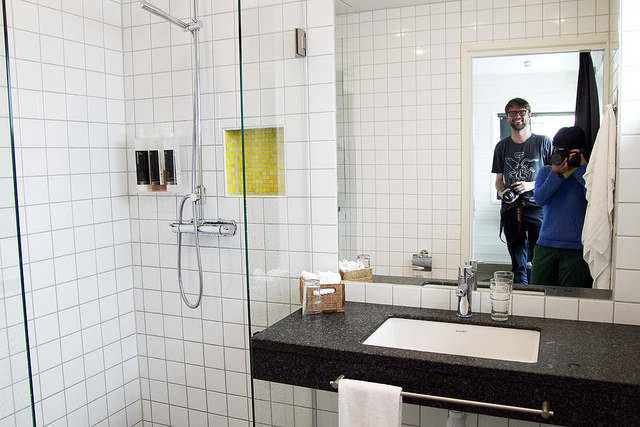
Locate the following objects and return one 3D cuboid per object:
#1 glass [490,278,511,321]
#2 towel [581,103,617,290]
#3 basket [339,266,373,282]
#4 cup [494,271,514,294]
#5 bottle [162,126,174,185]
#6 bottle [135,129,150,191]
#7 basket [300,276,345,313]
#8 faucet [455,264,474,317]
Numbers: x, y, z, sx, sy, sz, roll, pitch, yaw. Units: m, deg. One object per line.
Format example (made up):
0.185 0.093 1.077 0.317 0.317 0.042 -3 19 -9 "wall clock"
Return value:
0.975 0.457 2.572 0.113 0.215 0.076 -2 6 3 "glass"
1.477 -0.086 2.526 0.151 0.961 0.065 0 6 24 "towel"
0.234 0.368 2.876 0.136 0.057 0.098 1 3 14 "basket"
0.995 0.367 2.593 0.114 0.112 0.101 0 5 21 "cup"
-1.027 -0.397 3.238 0.075 0.394 0.136 -4 6 -18 "bottle"
-1.224 -0.359 3.250 0.141 0.409 0.055 1 6 31 "bottle"
0.073 0.480 2.870 0.293 0.184 0.308 0 3 22 "basket"
0.801 0.421 2.639 0.093 0.267 0.134 0 6 18 "faucet"
